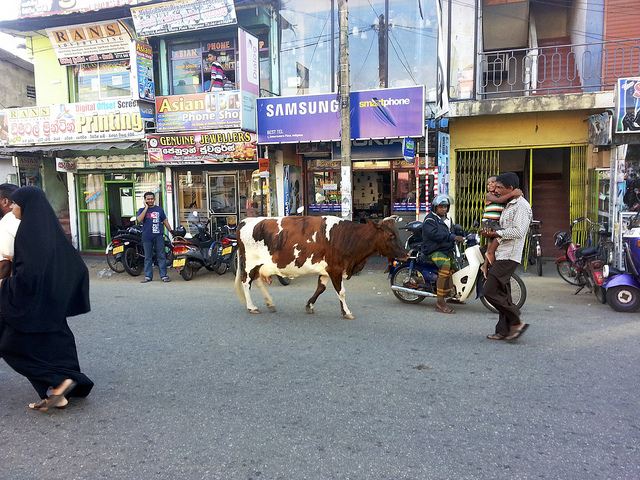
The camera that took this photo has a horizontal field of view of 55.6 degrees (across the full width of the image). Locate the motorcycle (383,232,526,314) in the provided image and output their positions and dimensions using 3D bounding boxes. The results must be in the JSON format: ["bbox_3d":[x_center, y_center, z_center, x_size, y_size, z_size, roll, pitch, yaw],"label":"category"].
[{"bbox_3d":[2.046,0.417,9.500,2.159,1.475,0.886,1,3,29],"label":"motorcycle"}]

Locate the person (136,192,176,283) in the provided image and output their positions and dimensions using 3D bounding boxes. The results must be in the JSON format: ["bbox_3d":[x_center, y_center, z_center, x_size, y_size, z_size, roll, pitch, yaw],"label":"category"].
[{"bbox_3d":[-3.486,-0.050,12.690,0.701,1.929,0.846,-5,15,-16],"label":"person"}]

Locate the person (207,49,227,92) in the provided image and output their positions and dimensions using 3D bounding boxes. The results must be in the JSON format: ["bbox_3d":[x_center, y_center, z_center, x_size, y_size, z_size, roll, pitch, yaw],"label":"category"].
[{"bbox_3d":[-2.663,-4.283,15.219,0.523,0.977,0.446,3,15,16],"label":"person"}]

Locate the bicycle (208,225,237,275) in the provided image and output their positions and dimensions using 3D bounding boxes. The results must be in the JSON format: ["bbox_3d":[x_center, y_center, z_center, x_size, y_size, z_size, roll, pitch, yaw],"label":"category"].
[{"bbox_3d":[-2.203,0.237,13.345,0.481,1.093,0.859,-3,15,-7],"label":"bicycle"}]

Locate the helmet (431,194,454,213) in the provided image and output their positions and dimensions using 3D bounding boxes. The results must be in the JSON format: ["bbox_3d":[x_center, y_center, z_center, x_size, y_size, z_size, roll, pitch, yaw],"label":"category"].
[{"bbox_3d":[1.919,-0.585,9.537,0.319,0.282,0.248,16,12,33],"label":"helmet"}]

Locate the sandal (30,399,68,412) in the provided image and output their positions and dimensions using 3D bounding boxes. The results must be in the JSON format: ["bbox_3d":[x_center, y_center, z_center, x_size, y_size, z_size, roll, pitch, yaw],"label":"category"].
[{"bbox_3d":[-2.891,1.764,6.458,0.296,0.134,0.092,6,9,0],"label":"sandal"}]

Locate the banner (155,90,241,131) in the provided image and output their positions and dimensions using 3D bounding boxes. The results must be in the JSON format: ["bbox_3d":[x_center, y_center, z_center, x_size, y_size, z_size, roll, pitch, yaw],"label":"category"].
[{"bbox_3d":[-2.986,-3.134,14.673,2.122,0.885,0.031,-4,-2,8],"label":"banner"}]

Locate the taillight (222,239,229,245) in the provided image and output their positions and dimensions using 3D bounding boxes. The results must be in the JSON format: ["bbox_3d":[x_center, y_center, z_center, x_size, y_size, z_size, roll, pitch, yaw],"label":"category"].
[{"bbox_3d":[-2.037,0.039,13.062,0.149,0.114,0.020,4,15,19],"label":"taillight"}]

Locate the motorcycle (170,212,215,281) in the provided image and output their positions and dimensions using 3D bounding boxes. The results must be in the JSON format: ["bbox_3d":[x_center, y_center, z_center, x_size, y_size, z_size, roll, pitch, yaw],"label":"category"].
[{"bbox_3d":[-2.693,0.195,13.335,0.541,1.173,1.914,-2,5,14],"label":"motorcycle"}]

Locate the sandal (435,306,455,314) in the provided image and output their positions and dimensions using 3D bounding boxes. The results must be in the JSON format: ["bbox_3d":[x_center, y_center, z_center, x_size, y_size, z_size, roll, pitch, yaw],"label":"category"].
[{"bbox_3d":[1.936,1.078,9.351,0.253,0.082,0.103,-2,4,11],"label":"sandal"}]

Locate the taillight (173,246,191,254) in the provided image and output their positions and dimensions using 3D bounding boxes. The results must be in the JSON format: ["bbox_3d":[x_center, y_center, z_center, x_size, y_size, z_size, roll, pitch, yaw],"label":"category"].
[{"bbox_3d":[-2.902,0.209,12.610,0.334,0.151,0.103,0,15,2],"label":"taillight"}]

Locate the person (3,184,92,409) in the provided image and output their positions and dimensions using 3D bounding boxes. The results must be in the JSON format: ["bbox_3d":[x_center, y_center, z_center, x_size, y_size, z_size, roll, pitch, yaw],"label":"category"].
[{"bbox_3d":[-2.974,0.611,6.453,0.863,2.287,0.678,-4,15,-11],"label":"person"}]

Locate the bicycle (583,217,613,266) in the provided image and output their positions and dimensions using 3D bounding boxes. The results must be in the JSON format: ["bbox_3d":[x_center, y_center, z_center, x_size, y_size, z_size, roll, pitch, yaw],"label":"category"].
[{"bbox_3d":[5.165,0.102,11.000,0.483,0.531,0.807,0,10,3],"label":"bicycle"}]

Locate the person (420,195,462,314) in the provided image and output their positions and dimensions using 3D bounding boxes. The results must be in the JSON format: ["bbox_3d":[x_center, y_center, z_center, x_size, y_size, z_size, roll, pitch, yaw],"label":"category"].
[{"bbox_3d":[1.853,0.192,9.419,0.505,1.693,0.686,1,15,7],"label":"person"}]

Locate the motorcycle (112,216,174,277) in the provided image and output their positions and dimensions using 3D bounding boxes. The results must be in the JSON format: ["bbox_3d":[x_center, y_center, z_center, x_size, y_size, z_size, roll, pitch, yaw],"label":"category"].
[{"bbox_3d":[-3.828,0.072,13.651,0.742,1.282,1.908,-6,5,25],"label":"motorcycle"}]

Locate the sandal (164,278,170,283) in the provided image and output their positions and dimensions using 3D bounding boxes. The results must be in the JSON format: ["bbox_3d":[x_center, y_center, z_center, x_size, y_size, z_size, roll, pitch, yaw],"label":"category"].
[{"bbox_3d":[-3.222,0.841,12.651,0.193,0.080,0.069,1,2,44],"label":"sandal"}]

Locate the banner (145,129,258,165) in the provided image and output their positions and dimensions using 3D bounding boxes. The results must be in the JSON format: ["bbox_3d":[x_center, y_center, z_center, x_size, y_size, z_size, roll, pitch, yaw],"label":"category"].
[{"bbox_3d":[-2.881,-2.351,15.123,2.752,0.983,0.792,0,12,10],"label":"banner"}]

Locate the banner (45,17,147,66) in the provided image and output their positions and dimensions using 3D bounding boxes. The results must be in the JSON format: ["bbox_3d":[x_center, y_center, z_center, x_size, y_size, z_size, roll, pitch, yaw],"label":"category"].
[{"bbox_3d":[-5.854,-5.158,15.928,2.730,1.052,0.793,2,4,24],"label":"banner"}]

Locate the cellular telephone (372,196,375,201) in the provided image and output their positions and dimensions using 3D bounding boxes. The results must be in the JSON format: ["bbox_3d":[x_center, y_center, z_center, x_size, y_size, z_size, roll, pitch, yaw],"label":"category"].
[{"bbox_3d":[1.425,-1.092,15.803,0.078,0.150,0.080,0,-1,0],"label":"cellular telephone"}]

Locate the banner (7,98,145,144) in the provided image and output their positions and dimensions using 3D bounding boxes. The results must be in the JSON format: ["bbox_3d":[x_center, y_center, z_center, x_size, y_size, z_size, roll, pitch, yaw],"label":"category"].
[{"bbox_3d":[-6.354,-3.040,15.586,3.961,1.151,0.321,3,15,15],"label":"banner"}]

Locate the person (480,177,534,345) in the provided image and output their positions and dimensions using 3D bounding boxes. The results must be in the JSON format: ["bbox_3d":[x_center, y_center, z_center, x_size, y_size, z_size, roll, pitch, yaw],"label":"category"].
[{"bbox_3d":[2.508,0.269,7.969,0.602,2.122,0.684,6,16,25],"label":"person"}]
